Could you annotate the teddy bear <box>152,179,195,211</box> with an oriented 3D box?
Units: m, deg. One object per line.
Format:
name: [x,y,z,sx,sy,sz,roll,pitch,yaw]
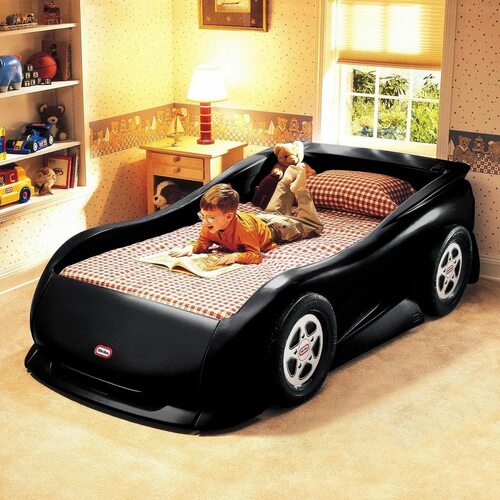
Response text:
teddy bear: [-0.673,-0.482,3.887,0.192,0.169,0.308,-7,25,47]

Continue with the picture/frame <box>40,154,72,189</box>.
picture/frame: [-1.414,-0.571,3.290,0.268,0.319,0.045,3,9,-1]

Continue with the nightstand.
nightstand: [-0.600,-0.703,3.992,0.780,0.971,0.637,10,17,30]

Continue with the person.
person: [0.059,-0.275,2.395,0.455,0.445,0.836,16,23,42]

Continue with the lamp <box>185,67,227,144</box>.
lamp: [-0.353,-1.194,3.799,0.322,0.623,0.390,-1,10,-3]

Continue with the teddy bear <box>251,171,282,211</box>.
teddy bear: [0.123,-0.377,2.930,0.171,0.230,0.242,21,15,16]

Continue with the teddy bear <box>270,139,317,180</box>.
teddy bear: [0.294,-0.594,3.069,0.280,0.268,0.187,-5,22,3]

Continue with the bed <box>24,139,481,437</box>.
bed: [0.251,0.083,2.208,1.231,0.617,1.957,13,23,39]

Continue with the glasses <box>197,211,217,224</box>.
glasses: [-0.203,-0.156,2.170,0.108,0.032,0.105,2,19,-43]
